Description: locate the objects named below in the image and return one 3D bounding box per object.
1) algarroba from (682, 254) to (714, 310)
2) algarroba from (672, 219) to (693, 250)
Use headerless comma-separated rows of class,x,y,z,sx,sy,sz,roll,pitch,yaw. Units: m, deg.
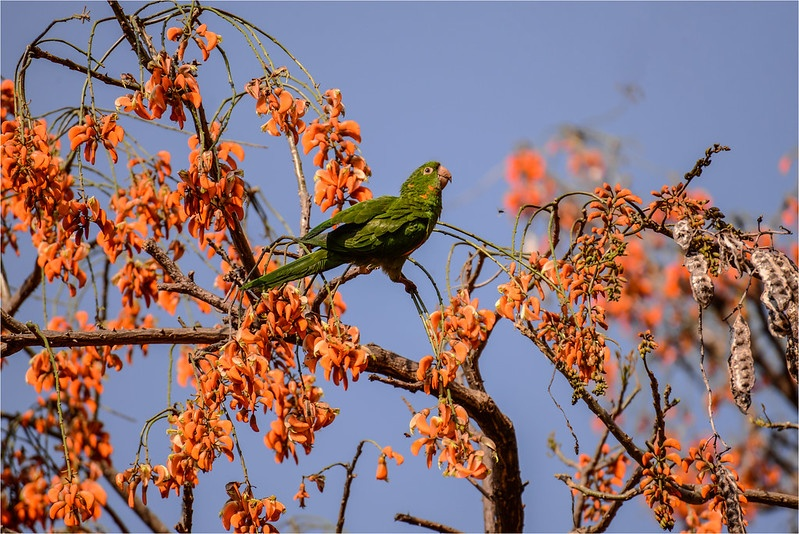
algarroba,1.786,0.096,9.966,0.159,0.338,0.203,-3,-44,10
algarroba,1.706,-0.210,10.024,0.159,0.120,0.038,-61,-26,11
